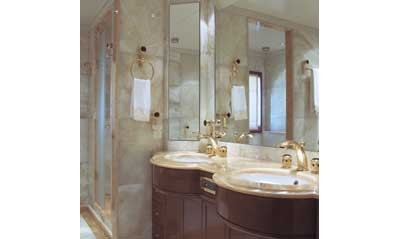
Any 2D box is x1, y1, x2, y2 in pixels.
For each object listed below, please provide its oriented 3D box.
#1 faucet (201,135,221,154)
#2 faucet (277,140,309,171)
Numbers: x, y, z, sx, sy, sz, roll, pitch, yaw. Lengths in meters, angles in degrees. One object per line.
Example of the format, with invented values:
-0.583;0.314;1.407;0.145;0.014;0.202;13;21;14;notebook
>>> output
0.083;0.208;2.678;0.038;0.141;0.105;-10;-16;-19;faucet
0.583;0.220;1.899;0.246;0.168;0.082;16;-15;-43;faucet
